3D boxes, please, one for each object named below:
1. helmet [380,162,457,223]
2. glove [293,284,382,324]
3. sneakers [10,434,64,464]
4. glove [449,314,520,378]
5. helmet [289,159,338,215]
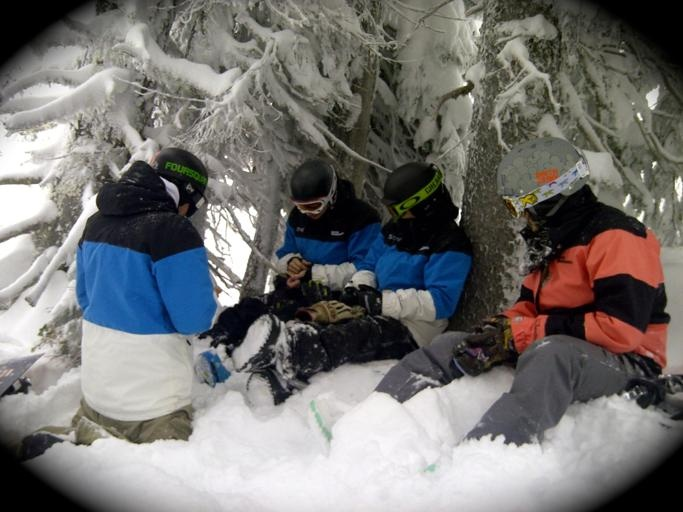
[{"bbox_3d":[0.739,-0.626,5.527,0.649,0.504,0.461,-8,49,3],"label":"helmet"},{"bbox_3d":[-0.005,0.482,5.346,0.584,0.234,0.363,-10,10,-41],"label":"glove"},{"bbox_3d":[-2.109,1.332,4.009,0.284,0.105,0.189,-3,25,-27],"label":"sneakers"},{"bbox_3d":[1.102,0.701,4.399,0.517,0.340,0.205,-29,-13,-8],"label":"glove"},{"bbox_3d":[-0.243,-0.690,5.870,0.416,0.577,0.543,6,-20,13],"label":"helmet"}]
